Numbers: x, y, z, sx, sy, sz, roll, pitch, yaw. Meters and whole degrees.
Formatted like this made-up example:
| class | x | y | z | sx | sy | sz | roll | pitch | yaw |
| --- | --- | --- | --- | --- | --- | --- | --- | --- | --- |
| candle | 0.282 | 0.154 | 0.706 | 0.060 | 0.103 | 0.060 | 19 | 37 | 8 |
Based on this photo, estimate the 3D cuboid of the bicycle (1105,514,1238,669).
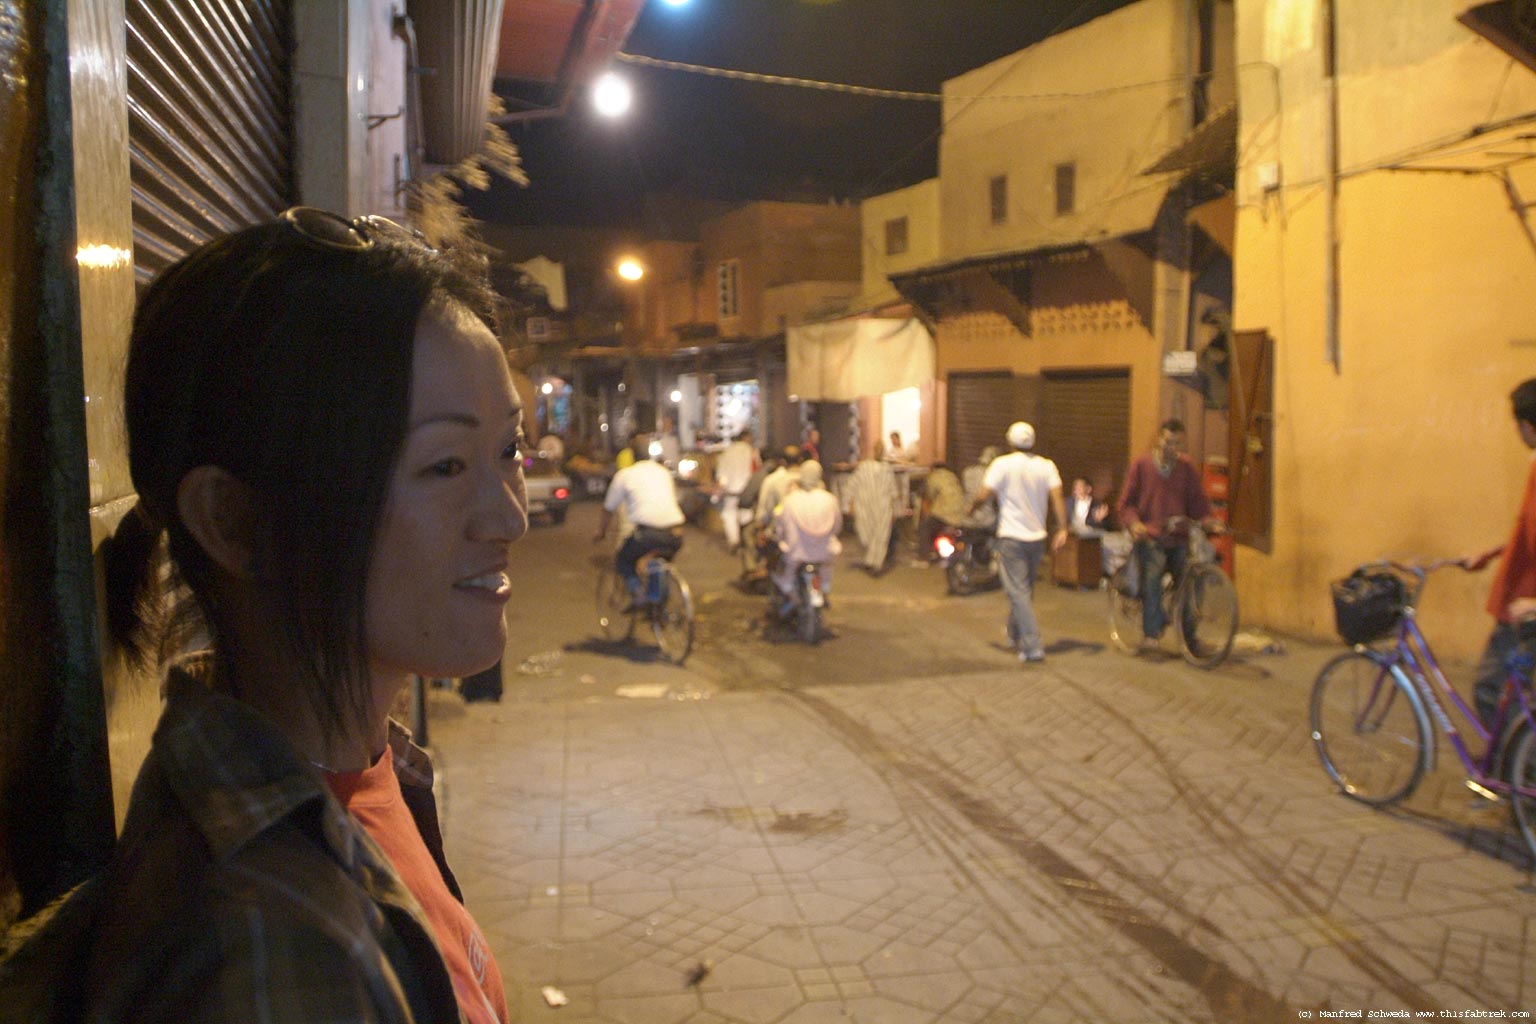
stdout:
| class | x | y | z | sx | sy | sz | roll | pitch | yaw |
| --- | --- | --- | --- | --- | --- | --- | --- | --- | --- |
| bicycle | 3.443 | 0.652 | 10.209 | 0.623 | 1.187 | 1.389 | -2 | 6 | -20 |

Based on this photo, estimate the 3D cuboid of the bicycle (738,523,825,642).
| class | x | y | z | sx | sy | sz | roll | pitch | yaw |
| --- | --- | --- | --- | --- | --- | --- | --- | --- | --- |
| bicycle | 0.266 | 0.837 | 11.900 | 0.601 | 0.792 | 1.249 | 6 | 8 | -17 |

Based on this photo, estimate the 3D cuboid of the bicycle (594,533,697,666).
| class | x | y | z | sx | sy | sz | roll | pitch | yaw |
| --- | --- | --- | --- | --- | --- | --- | --- | --- | --- |
| bicycle | -0.900 | 0.792 | 10.988 | 0.611 | 0.799 | 1.295 | -17 | 24 | -29 |
